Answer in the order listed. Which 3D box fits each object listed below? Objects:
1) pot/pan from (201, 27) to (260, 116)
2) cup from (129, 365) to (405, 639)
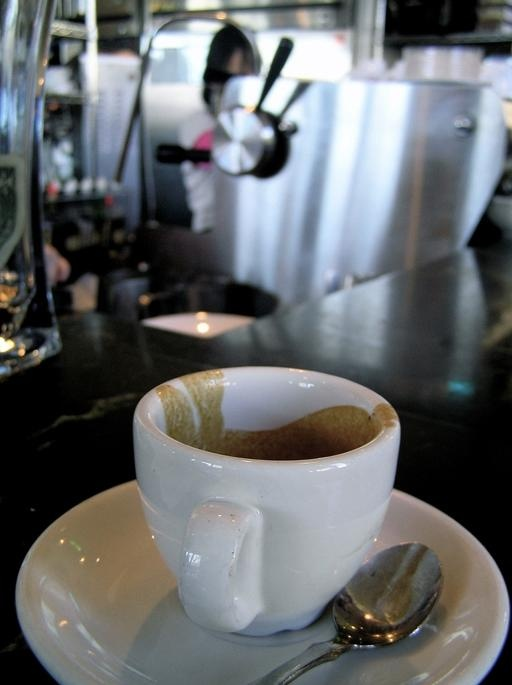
[{"bbox_3d":[-0.016,-0.229,0.493,0.043,0.043,0.064,10,24,7],"label":"pot/pan"},{"bbox_3d":[0.010,0.051,0.211,0.082,0.065,0.093,7,23,16],"label":"cup"}]
